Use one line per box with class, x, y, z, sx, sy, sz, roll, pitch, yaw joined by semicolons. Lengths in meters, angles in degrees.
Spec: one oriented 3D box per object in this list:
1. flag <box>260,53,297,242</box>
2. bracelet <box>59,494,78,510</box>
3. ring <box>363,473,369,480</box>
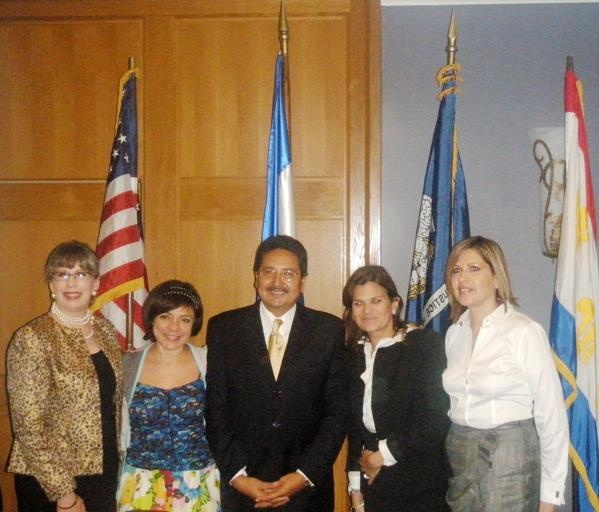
flag;-0.147;-0.682;4.691;0.205;1.138;0.144;-3;-3;14
bracelet;-1.175;1.226;3.781;0.056;0.033;0.075;-14;-4;7
ring;0.347;1.151;3.960;0.030;0.034;0.027;5;-7;10
